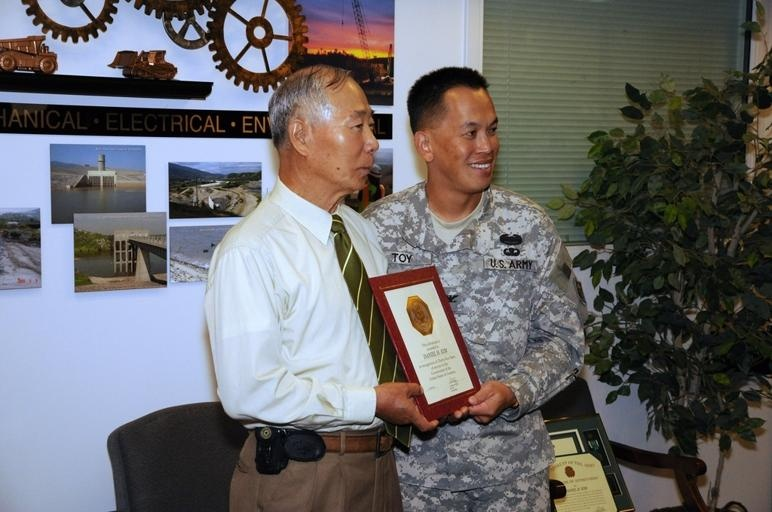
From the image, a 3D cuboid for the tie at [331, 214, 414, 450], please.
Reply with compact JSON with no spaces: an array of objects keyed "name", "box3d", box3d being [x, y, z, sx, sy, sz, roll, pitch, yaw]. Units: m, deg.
[{"name":"tie","box3d":[-0.068,0.309,2.531,0.239,0.937,0.060,-22,1,-26]}]
